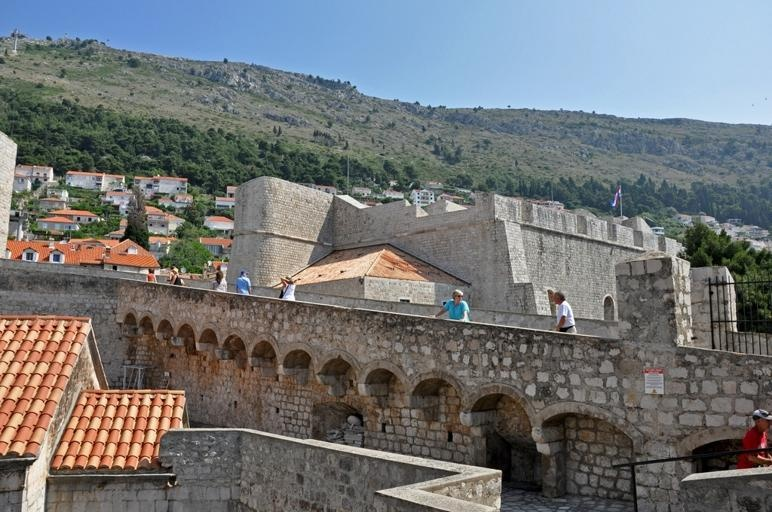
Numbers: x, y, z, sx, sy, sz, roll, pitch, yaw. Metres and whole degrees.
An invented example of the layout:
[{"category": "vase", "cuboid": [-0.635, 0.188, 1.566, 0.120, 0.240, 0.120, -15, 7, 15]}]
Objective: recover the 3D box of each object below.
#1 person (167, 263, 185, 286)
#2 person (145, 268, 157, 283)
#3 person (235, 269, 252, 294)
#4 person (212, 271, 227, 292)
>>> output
[{"category": "person", "cuboid": [-12.620, 1.062, 55.994, 0.935, 1.215, 0.967, 11, 11, 32]}, {"category": "person", "cuboid": [-12.092, 0.980, 48.017, 0.632, 0.913, 0.548, 1, 11, -15]}, {"category": "person", "cuboid": [-6.239, 1.256, 40.926, 0.497, 1.030, 1.980, -1, 10, -11]}, {"category": "person", "cuboid": [-7.407, 1.157, 41.641, 0.545, 1.102, 1.642, -1, 11, -12]}]
